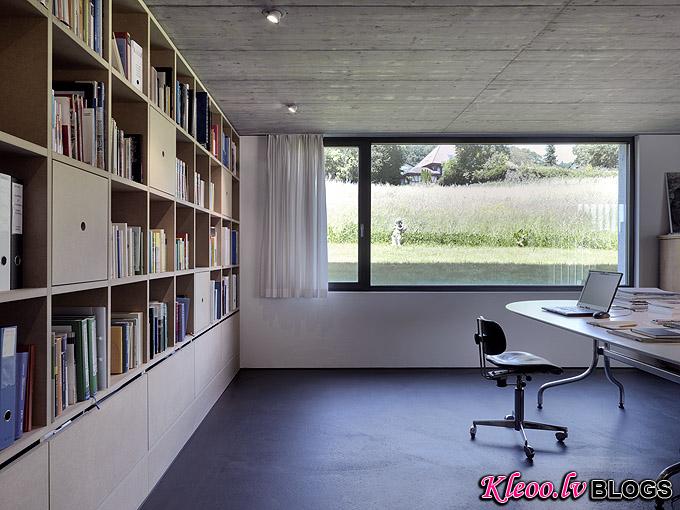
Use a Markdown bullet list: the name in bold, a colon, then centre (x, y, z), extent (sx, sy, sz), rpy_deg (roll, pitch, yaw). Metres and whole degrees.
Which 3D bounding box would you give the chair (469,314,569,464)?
- **chair**: centre (1.358, 0.945, 4.208), extent (0.692, 0.865, 0.770), rpy_deg (3, -2, -6)

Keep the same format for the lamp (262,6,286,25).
- **lamp**: centre (-0.403, -1.486, 3.535), extent (0.146, 0.072, 0.178), rpy_deg (2, 7, 20)

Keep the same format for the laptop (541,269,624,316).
- **laptop**: centre (1.882, 0.289, 4.398), extent (0.453, 0.310, 0.524), rpy_deg (-2, 1, 1)

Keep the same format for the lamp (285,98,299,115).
- **lamp**: centre (-0.430, -1.316, 5.026), extent (0.075, 0.066, 0.064), rpy_deg (-7, 3, 20)
